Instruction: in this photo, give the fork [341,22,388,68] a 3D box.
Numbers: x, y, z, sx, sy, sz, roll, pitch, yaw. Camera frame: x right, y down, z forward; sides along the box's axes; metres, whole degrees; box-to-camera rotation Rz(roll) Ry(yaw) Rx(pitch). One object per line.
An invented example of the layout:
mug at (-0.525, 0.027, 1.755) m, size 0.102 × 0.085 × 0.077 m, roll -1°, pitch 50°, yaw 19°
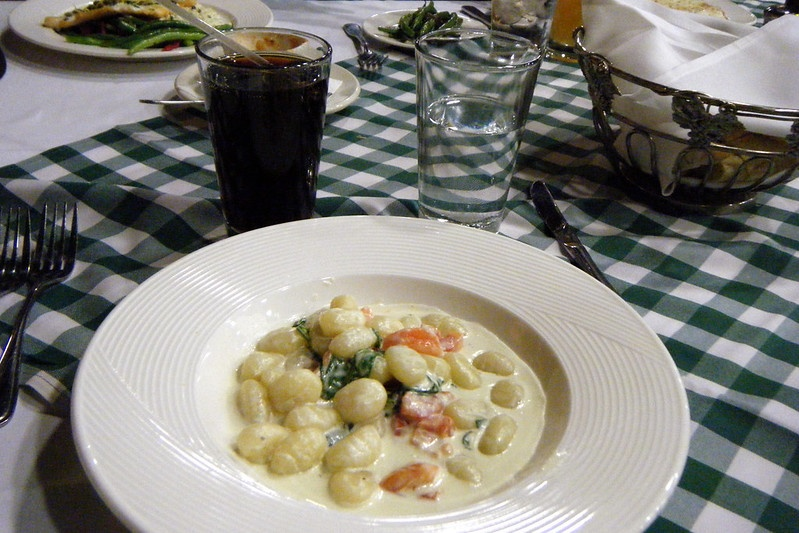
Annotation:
fork at (-0.118, -0.733, 2.056) m, size 0.085 × 0.044 × 0.296 m, roll -21°, pitch 44°, yaw -9°
